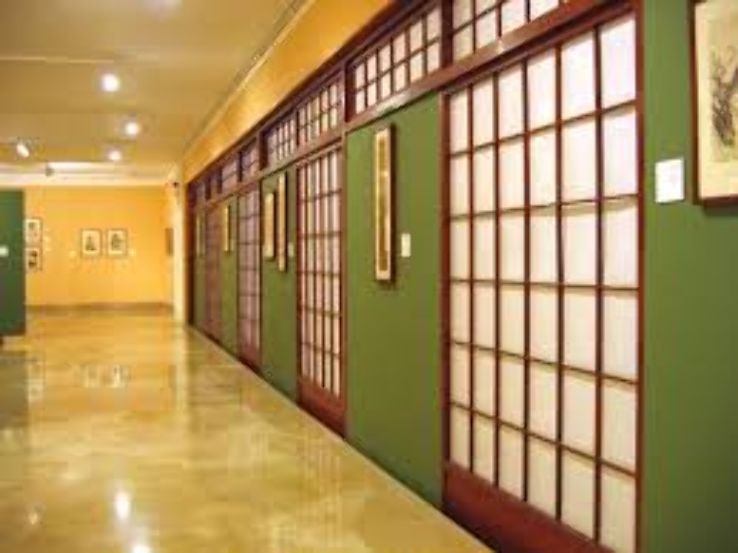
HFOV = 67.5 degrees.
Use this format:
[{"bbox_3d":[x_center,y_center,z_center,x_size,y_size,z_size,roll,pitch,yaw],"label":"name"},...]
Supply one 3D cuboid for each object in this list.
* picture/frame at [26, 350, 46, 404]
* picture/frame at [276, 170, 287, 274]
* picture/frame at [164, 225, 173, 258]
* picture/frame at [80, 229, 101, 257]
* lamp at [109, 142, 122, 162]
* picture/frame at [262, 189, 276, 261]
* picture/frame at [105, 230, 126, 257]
[{"bbox_3d":[-3.518,1.047,5.864,0.170,0.045,2.499,-4,5,-32],"label":"picture/frame"},{"bbox_3d":[-0.786,-0.490,5.031,0.065,0.885,0.335,-2,3,-19],"label":"picture/frame"},{"bbox_3d":[-4.796,-0.858,13.311,0.097,0.765,0.768,0,-1,-23],"label":"picture/frame"},{"bbox_3d":[-6.897,-0.834,13.712,0.616,0.980,0.039,0,-1,-28],"label":"picture/frame"},{"bbox_3d":[-4.434,-2.211,9.707,0.188,0.102,0.237,13,-28,-22],"label":"lamp"},{"bbox_3d":[-0.948,-0.498,5.400,0.046,0.694,0.473,1,0,-20],"label":"picture/frame"},{"bbox_3d":[-6.361,-0.833,13.875,0.616,0.972,0.039,0,1,-32],"label":"picture/frame"}]
